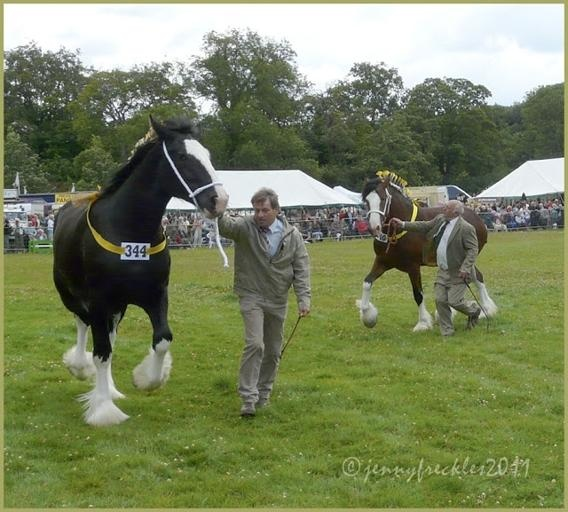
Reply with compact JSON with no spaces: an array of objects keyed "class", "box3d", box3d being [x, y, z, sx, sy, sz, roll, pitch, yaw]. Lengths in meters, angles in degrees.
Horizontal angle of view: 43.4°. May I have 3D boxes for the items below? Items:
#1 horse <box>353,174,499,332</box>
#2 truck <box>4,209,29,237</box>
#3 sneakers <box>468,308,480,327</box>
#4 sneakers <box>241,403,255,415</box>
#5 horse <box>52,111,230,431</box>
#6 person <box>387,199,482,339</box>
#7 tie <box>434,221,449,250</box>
[{"class":"horse","box3d":[2.410,-0.057,12.489,3.419,2.843,0.914,0,4,-42]},{"class":"truck","box3d":[-11.835,-1.617,31.902,1.295,1.065,1.895,-1,12,-12]},{"class":"sneakers","box3d":[3.041,0.993,11.500,0.141,0.455,0.293,4,43,17]},{"class":"sneakers","box3d":[-0.386,1.693,7.809,0.173,0.140,0.126,0,8,-7]},{"class":"horse","box3d":[-1.727,0.101,7.981,1.221,3.258,2.641,-5,10,-39]},{"class":"person","box3d":[2.555,0.175,11.308,0.950,2.089,0.569,6,9,33]},{"class":"tie","box3d":[2.482,-0.320,11.383,0.137,0.372,0.210,19,-2,-26]}]
